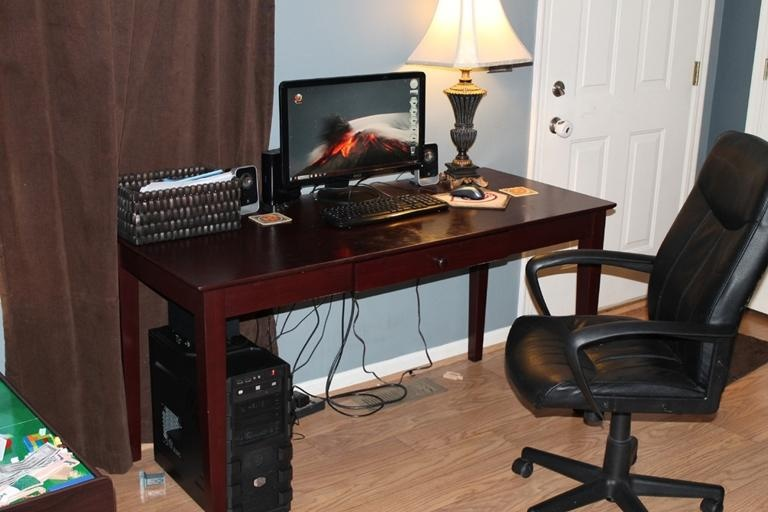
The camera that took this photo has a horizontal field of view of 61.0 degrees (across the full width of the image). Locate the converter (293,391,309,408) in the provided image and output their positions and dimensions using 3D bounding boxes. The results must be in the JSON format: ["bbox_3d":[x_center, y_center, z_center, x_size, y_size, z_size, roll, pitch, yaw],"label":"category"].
[{"bbox_3d":[-0.386,0.649,3.001,0.062,0.040,0.087,-10,20,-36],"label":"converter"}]

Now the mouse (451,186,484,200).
[{"bbox_3d":[0.362,-0.275,2.804,0.117,0.037,0.064,14,27,33],"label":"mouse"}]

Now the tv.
[{"bbox_3d":[-0.156,-0.512,2.761,0.575,0.377,0.170,-15,30,-33],"label":"tv"}]
